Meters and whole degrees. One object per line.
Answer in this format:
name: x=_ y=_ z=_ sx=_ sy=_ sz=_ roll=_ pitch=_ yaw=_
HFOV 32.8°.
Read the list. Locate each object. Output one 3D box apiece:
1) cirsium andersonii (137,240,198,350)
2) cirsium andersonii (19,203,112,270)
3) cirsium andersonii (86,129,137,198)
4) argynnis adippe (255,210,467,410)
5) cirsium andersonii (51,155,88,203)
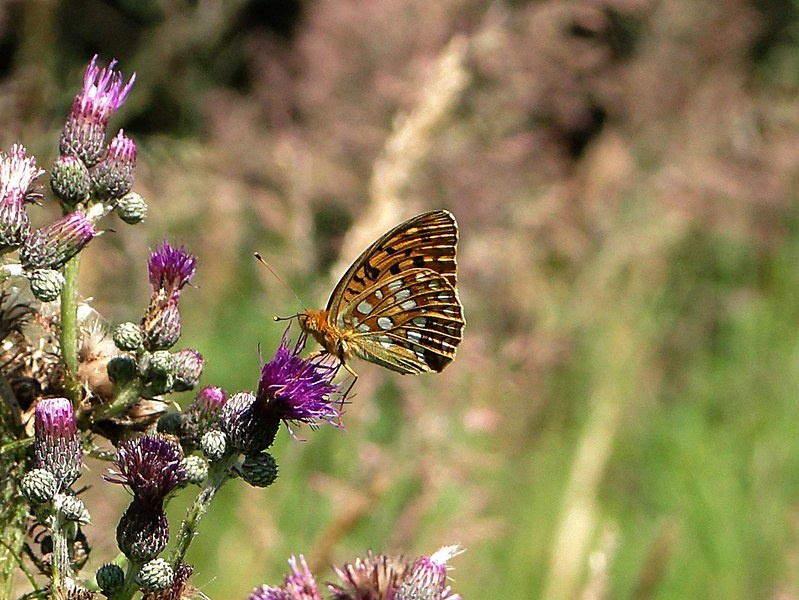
cirsium andersonii: x=-0.825 y=-0.006 z=4.790 sx=0.190 sy=0.405 sz=0.176 roll=3 pitch=3 yaw=-35
cirsium andersonii: x=-1.146 y=-0.203 z=4.625 sx=0.176 sy=0.255 sz=0.128 roll=57 pitch=-8 yaw=-10
cirsium andersonii: x=-0.989 y=-0.461 z=4.706 sx=0.144 sy=0.235 sz=0.109 roll=14 pitch=-5 yaw=-16
argynnis adippe: x=-0.033 y=0.020 z=5.617 sx=0.833 sy=0.815 sz=0.314 roll=12 pitch=18 yaw=26
cirsium andersonii: x=-1.129 y=-0.403 z=4.679 sx=0.138 sy=0.178 sz=0.133 roll=-6 pitch=12 yaw=-28
